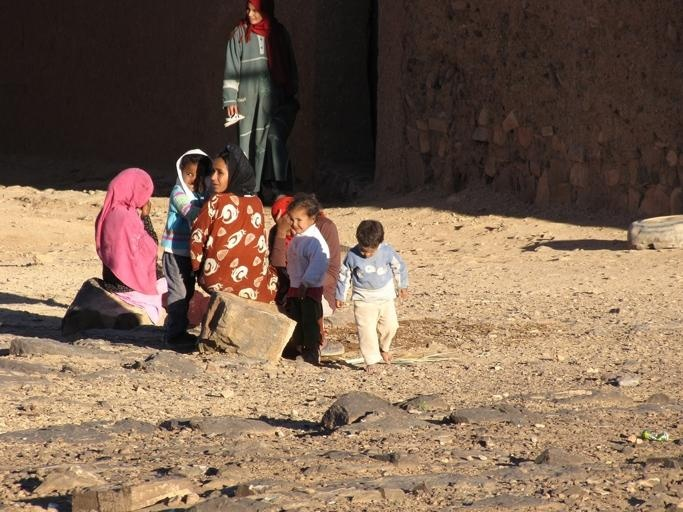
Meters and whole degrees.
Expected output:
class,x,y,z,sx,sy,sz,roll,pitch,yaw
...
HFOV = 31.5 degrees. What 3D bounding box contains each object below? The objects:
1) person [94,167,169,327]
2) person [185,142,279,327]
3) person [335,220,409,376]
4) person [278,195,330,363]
class,x,y,z,sx,sy,sz,roll,pitch,yaw
person,-1.621,-0.070,9.424,0.549,1.201,0.267,0,5,-15
person,-0.737,-0.180,8.715,0.663,1.222,0.379,0,5,-19
person,0.237,0.263,8.763,0.367,1.052,0.446,6,7,42
person,-0.263,0.167,8.808,0.337,1.210,0.260,2,5,5
